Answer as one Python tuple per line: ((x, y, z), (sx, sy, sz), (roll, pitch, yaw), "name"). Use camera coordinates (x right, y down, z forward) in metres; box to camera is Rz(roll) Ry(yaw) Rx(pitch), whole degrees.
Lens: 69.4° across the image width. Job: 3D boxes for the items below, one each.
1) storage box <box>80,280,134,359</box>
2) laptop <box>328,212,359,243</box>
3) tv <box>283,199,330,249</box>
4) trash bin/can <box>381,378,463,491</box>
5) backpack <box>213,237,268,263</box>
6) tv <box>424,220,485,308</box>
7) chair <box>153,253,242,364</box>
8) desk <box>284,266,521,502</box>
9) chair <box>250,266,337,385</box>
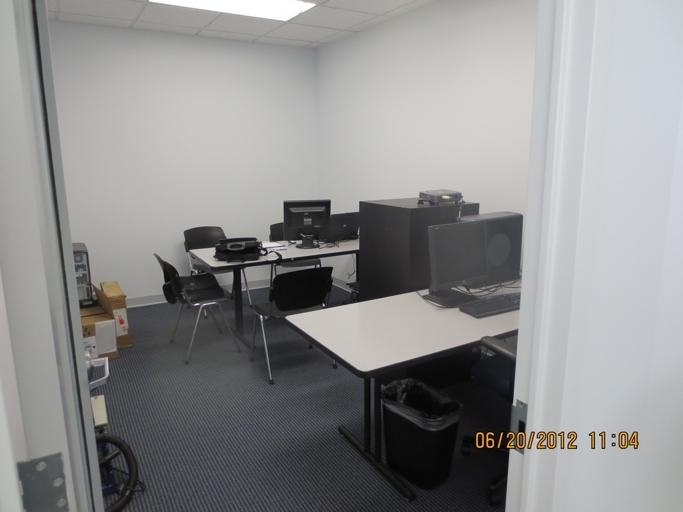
((-1.906, 0.528, 4.005), (0.515, 0.560, 0.540), (-4, 12, -35), "storage box")
((0.031, -0.286, 4.856), (0.361, 0.256, 0.254), (-8, 19, -40), "laptop")
((-0.321, -0.304, 4.632), (0.403, 0.371, 0.138), (-2, 22, -14), "tv")
((0.395, 0.926, 2.671), (0.413, 0.510, 0.496), (-4, 6, -34), "trash bin/can")
((-0.860, -0.059, 4.218), (0.425, 0.159, 0.297), (-3, 13, -11), "backpack")
((0.658, 0.054, 2.822), (0.422, 0.444, 0.235), (-9, 9, -34), "tv")
((-1.309, 0.505, 4.515), (0.641, 0.984, 0.537), (-9, 21, -27), "chair")
((0.298, 0.742, 2.660), (0.977, 0.838, 0.838), (-8, 15, -31), "desk")
((-0.369, 0.567, 3.769), (0.549, 0.933, 0.614), (-7, 22, -25), "chair")
